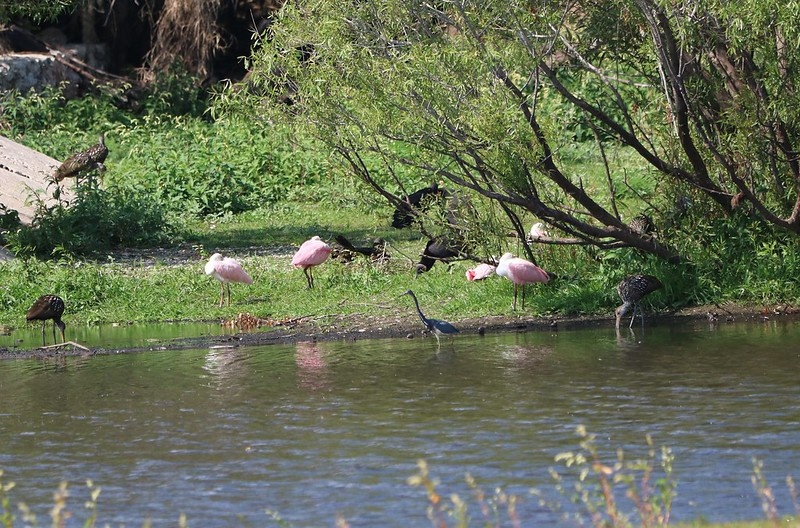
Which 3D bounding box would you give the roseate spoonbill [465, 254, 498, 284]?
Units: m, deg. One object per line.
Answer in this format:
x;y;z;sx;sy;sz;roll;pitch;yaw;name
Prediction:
1.435;0.072;20.109;0.689;0.281;0.233;-26;26;-20;roseate spoonbill

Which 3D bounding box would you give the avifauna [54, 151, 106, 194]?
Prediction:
-6.311;-1.794;24.901;1.132;0.420;0.721;-24;3;-7;avifauna

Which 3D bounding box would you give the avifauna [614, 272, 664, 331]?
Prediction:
3.665;0.522;18.548;1.020;0.734;0.329;-18;-30;29;avifauna

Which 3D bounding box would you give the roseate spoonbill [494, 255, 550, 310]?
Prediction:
1.849;0.260;18.862;0.885;0.810;0.468;2;-3;-1;roseate spoonbill

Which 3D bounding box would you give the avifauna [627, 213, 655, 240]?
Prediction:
3.759;-0.616;19.471;0.390;0.315;0.889;-5;-1;12;avifauna

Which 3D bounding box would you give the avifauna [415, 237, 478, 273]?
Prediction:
0.690;-0.225;20.796;0.441;0.575;1.419;37;10;-9;avifauna

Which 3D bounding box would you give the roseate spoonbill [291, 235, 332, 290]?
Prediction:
-1.516;-0.038;20.957;0.602;0.678;1.039;-4;-1;-13;roseate spoonbill

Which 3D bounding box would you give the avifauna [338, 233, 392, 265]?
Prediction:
-0.625;-0.272;21.508;0.917;0.353;0.953;-4;-1;-12;avifauna
